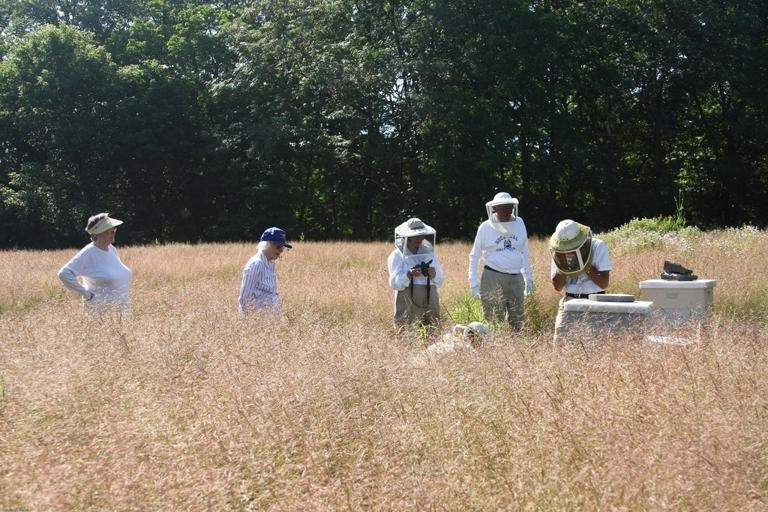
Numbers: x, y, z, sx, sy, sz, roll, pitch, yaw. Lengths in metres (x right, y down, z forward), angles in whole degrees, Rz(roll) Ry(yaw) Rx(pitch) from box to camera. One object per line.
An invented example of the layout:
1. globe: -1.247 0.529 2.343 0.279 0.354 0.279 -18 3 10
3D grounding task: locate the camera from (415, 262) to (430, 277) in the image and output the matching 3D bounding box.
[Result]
1. camera: 1.261 0.411 30.630 0.413 0.433 0.281 0 5 2

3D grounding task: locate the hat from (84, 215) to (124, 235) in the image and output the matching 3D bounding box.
1. hat: -8.874 -0.837 30.563 1.170 0.470 0.833 -15 16 6

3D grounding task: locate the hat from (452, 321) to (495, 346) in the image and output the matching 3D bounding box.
1. hat: 2.685 2.306 28.974 0.690 0.494 0.934 -9 0 -21

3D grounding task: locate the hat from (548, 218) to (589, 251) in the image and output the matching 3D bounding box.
1. hat: 5.612 -0.558 29.661 1.011 0.462 1.023 -23 34 20
